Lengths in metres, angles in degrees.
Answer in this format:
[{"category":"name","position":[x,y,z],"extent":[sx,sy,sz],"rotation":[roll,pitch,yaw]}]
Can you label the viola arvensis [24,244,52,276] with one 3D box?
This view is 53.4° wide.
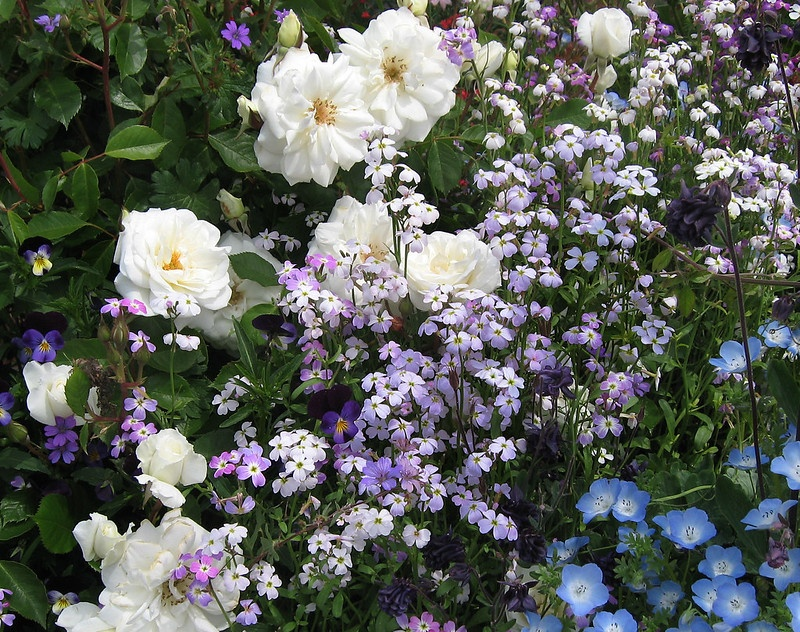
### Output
[{"category":"viola arvensis","position":[-0.929,-0.143,2.036],"extent":[0.057,0.036,0.086],"rotation":[3,74,-18]}]
